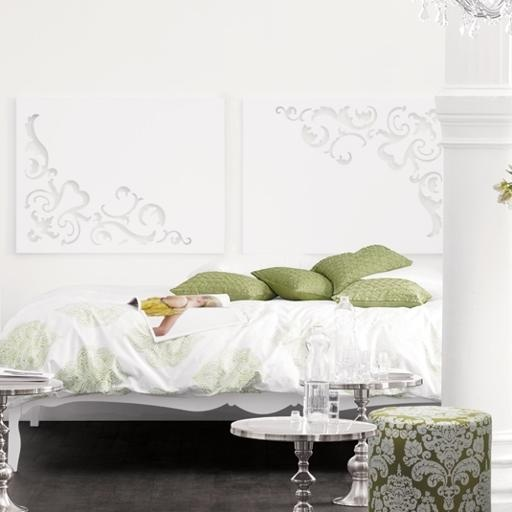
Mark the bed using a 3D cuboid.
[{"bbox_3d":[-0.187,0.501,3.808,2.033,0.713,1.201,-1,1,-6],"label":"bed"}]
